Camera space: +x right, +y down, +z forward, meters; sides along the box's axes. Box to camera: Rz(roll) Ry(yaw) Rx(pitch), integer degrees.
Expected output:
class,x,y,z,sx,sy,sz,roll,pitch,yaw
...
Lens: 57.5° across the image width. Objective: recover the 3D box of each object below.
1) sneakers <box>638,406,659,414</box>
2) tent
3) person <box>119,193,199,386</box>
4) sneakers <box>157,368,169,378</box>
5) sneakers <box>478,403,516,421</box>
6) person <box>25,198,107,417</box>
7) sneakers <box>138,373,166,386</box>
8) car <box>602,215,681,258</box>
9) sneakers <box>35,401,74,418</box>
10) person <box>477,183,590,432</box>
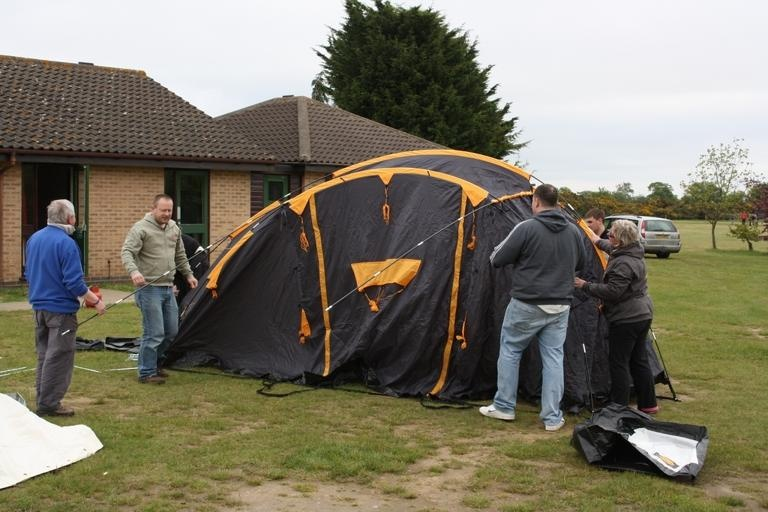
class,x,y,z,sx,sy,sz,roll,pitch,yaw
sneakers,3.166,1.846,8.369,0.216,0.070,0.187,-4,-3,16
tent,0.284,0.411,9.883,4.841,2.215,4.131,0,1,23
person,-2.983,0.428,9.090,0.532,2.404,1.003,7,13,26
sneakers,-2.977,1.572,9.365,0.199,0.125,0.069,2,6,19
sneakers,1.332,1.859,8.308,0.435,0.170,0.159,6,2,23
person,-3.617,0.594,7.825,0.673,2.346,0.685,-4,13,-25
sneakers,-3.001,1.605,9.073,0.414,0.163,0.131,-1,-1,-1
car,6.684,-0.474,17.776,1.409,0.930,2.643,-1,8,-9
sneakers,-3.646,1.719,7.808,0.433,0.178,0.154,1,1,-14
person,1.707,0.571,8.073,0.986,2.720,0.766,4,12,14
